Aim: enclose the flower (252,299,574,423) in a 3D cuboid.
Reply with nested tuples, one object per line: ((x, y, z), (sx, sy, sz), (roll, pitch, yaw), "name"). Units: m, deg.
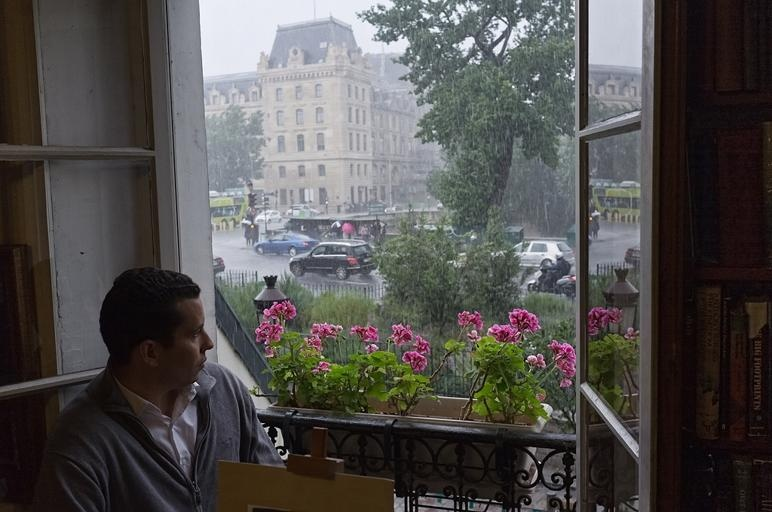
((0.102, 0.415, 3.795), (1.575, 0.643, 0.420), (6, 8, -22), "flower")

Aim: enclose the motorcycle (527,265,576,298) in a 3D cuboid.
((2.596, 0.428, 14.237), (0.755, 0.453, 0.946), (-1, 2, 9), "motorcycle")

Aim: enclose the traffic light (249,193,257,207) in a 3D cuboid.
((-2.915, -1.220, 19.049), (0.177, 0.300, 0.270), (-1, 1, -9), "traffic light")

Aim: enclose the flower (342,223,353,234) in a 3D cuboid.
((-0.812, -0.572, 17.931), (0.124, 0.215, 0.380), (-2, 2, -33), "flower")
